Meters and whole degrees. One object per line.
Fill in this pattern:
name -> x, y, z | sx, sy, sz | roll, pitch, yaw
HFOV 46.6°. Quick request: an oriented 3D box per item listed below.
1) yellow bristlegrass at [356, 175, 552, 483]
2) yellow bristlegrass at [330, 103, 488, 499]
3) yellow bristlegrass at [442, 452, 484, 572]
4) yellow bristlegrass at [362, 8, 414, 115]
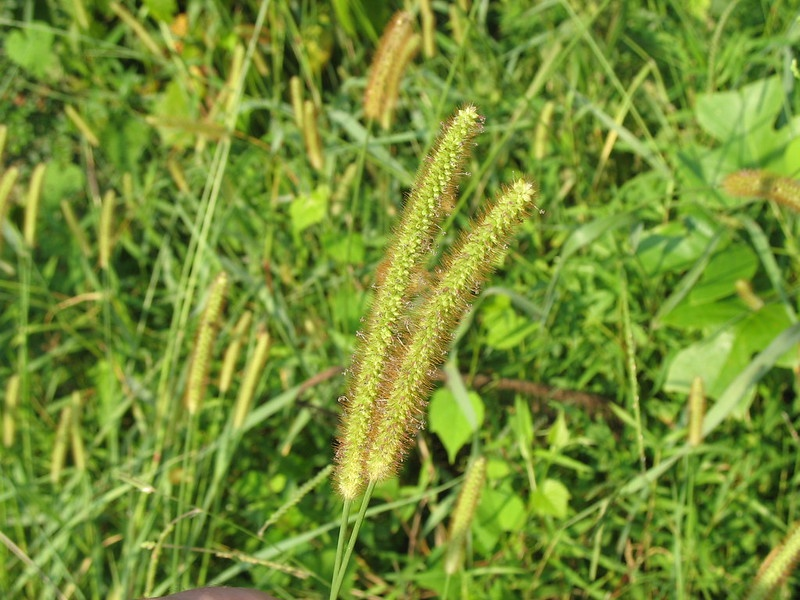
yellow bristlegrass -> 0.208, 0.164, 3.416 | 0.158, 1.254, 0.194 | 20, 10, -20
yellow bristlegrass -> 0.026, 0.052, 3.418 | 0.198, 1.635, 0.200 | 17, 9, 15
yellow bristlegrass -> 0.226, 0.779, 3.373 | 0.091, 0.549, 0.082 | 17, -9, -33
yellow bristlegrass -> -0.060, -0.866, 3.533 | 0.106, 0.553, 0.148 | 12, 13, -18
